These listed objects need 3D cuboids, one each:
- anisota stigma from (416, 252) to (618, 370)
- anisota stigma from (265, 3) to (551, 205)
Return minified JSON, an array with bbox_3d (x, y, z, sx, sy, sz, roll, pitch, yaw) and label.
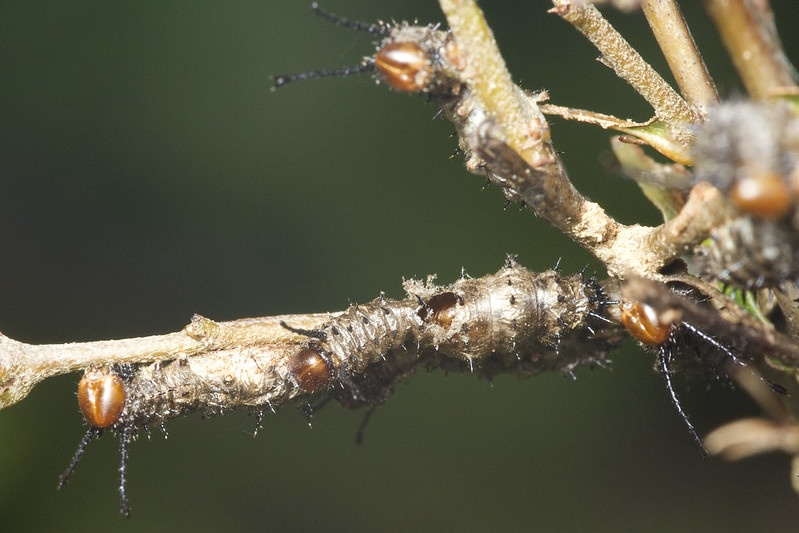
[{"bbox_3d":[0.285,0.130,2.477,0.421,0.306,0.216,-2,-91,-14],"label":"anisota stigma"},{"bbox_3d":[0.038,-0.416,2.296,0.720,0.440,0.253,45,-112,-17],"label":"anisota stigma"}]
